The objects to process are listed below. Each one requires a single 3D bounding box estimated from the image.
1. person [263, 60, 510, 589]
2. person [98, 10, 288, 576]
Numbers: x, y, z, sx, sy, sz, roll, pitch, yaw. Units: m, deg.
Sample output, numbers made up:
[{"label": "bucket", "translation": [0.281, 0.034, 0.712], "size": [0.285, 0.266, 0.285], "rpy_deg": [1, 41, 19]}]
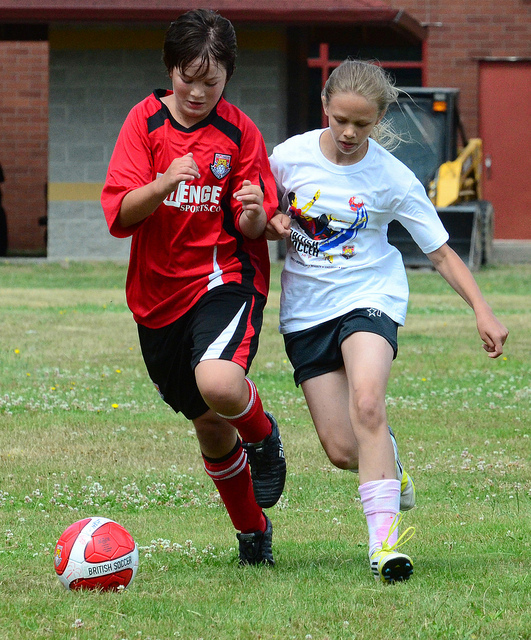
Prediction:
[{"label": "person", "translation": [0.365, -0.027, 3.948], "size": [0.744, 1.865, 1.014], "rpy_deg": [-2, 5, -12]}, {"label": "person", "translation": [-0.241, -0.087, 3.829], "size": [0.530, 1.957, 0.653], "rpy_deg": [2, 5, 33]}]
